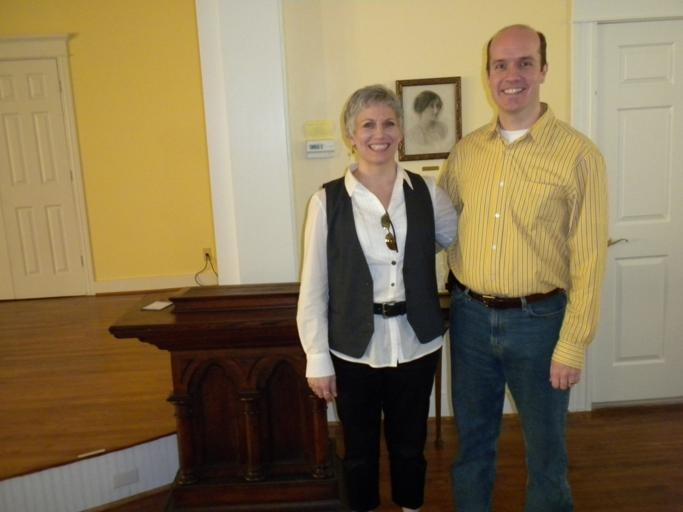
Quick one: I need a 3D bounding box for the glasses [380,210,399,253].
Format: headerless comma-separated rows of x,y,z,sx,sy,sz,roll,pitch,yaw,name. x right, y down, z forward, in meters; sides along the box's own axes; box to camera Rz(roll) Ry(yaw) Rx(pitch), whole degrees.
0.222,-0.110,2.979,0.056,0.175,0.063,-10,12,-34,glasses
